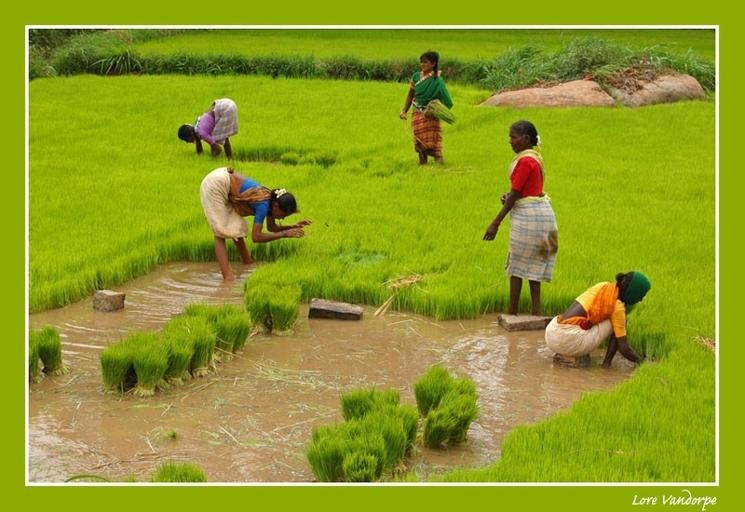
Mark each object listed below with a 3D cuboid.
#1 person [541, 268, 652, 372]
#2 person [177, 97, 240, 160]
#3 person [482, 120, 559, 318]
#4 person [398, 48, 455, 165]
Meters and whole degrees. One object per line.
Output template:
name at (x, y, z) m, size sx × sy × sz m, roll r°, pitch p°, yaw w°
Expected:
person at (3.015, 0.866, 11.675) m, size 1.536 × 1.629 × 0.992 m, roll -9°, pitch 24°, yaw -9°
person at (-3.649, -2.795, 19.404) m, size 1.294 × 1.439 × 0.752 m, roll -8°, pitch 30°, yaw -6°
person at (2.247, -0.491, 12.668) m, size 0.882 × 2.810 × 0.895 m, roll 11°, pitch 26°, yaw 32°
person at (1.183, -3.172, 18.820) m, size 1.021 × 2.663 × 1.308 m, roll -2°, pitch 22°, yaw 4°
